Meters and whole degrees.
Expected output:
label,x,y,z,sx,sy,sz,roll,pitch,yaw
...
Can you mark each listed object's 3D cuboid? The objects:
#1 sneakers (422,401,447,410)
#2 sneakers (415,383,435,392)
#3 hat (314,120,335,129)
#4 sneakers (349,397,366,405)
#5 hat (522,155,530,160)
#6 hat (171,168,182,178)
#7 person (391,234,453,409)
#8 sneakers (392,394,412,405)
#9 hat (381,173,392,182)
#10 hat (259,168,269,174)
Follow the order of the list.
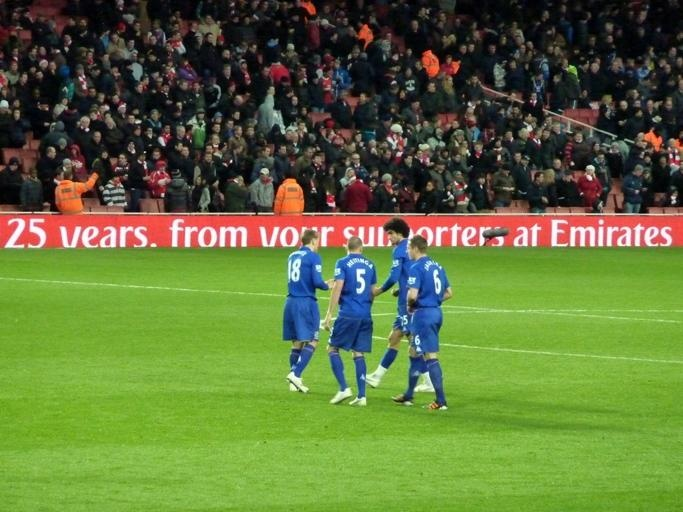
label,x,y,z,sx,sy,sz,roll,pitch,yaw
sneakers,1.554,2.475,26.249,0.309,0.148,0.137,3,-3,6
sneakers,1.431,2.281,27.420,0.290,0.126,0.144,3,4,-6
hat,-0.393,-3.680,44.359,0.370,0.114,0.379,10,16,36
sneakers,0.283,2.432,26.408,0.299,0.137,0.118,1,10,17
hat,5.258,-2.795,45.121,0.155,0.044,0.177,11,-1,18
hat,-4.316,-2.135,41.229,0.185,0.229,0.249,3,17,4
person,1.408,1.092,26.442,0.923,2.803,0.975,4,11,13
sneakers,1.020,2.412,26.610,0.366,0.178,0.135,9,1,19
hat,1.204,-2.089,42.581,0.224,0.184,0.202,1,16,4
hat,-2.042,-2.203,41.495,0.156,0.117,0.160,5,5,20
